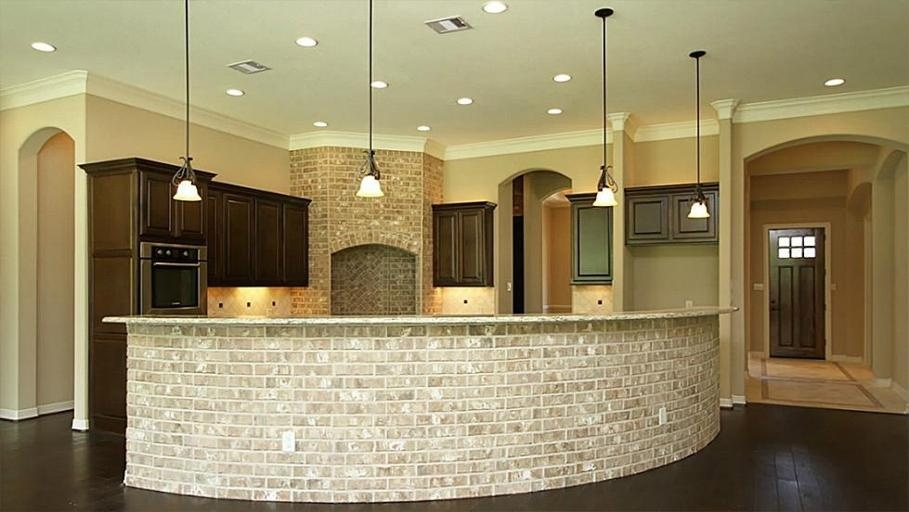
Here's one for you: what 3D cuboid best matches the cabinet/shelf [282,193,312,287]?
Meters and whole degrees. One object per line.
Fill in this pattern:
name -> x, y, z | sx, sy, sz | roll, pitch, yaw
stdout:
cabinet/shelf -> -2.826, -0.249, 11.947 | 0.253, 1.568, 0.744 | 7, 13, 32

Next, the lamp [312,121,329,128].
lamp -> -2.360, -2.327, 11.775 | 0.245, 0.082, 0.284 | -2, 9, -12

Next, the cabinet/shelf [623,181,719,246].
cabinet/shelf -> 3.642, -0.696, 11.161 | 1.253, 0.756, 0.389 | -2, -5, 23

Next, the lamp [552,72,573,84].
lamp -> 1.625, -2.686, 10.090 | 0.278, 0.117, 0.258 | 1, 9, 7

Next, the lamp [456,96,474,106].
lamp -> 0.163, -2.504, 10.813 | 0.276, 0.107, 0.274 | -1, 9, -4

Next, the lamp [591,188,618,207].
lamp -> 2.061, -0.771, 9.150 | 0.396, 0.215, 0.367 | -1, -5, 2

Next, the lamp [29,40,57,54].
lamp -> -5.686, -2.908, 9.278 | 0.339, 0.109, 0.239 | -1, 9, -9

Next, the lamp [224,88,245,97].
lamp -> -3.448, -2.580, 10.511 | 0.264, 0.112, 0.288 | -5, 10, -29

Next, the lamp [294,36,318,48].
lamp -> -2.022, -2.958, 9.166 | 0.297, 0.092, 0.175 | -1, 9, -5

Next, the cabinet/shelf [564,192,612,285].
cabinet/shelf -> 2.380, -0.291, 11.757 | 0.821, 1.598, 0.532 | 2, 11, 11

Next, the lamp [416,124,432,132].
lamp -> -0.549, -2.291, 11.957 | 0.245, 0.097, 0.345 | -1, 9, -5

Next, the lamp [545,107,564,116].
lamp -> 1.680, -2.430, 11.204 | 0.266, 0.112, 0.324 | 1, 9, 7

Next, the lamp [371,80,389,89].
lamp -> -1.127, -2.629, 10.237 | 0.246, 0.097, 0.230 | 0, 9, -2

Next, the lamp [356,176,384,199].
lamp -> -1.052, -0.873, 8.688 | 0.424, 0.252, 0.432 | 2, 6, 31

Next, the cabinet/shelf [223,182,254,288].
cabinet/shelf -> -3.589, -0.280, 11.096 | 0.234, 1.541, 0.647 | 9, 14, 39

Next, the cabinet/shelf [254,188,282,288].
cabinet/shelf -> -3.210, -0.247, 11.506 | 0.251, 1.469, 0.660 | 6, 12, 28
